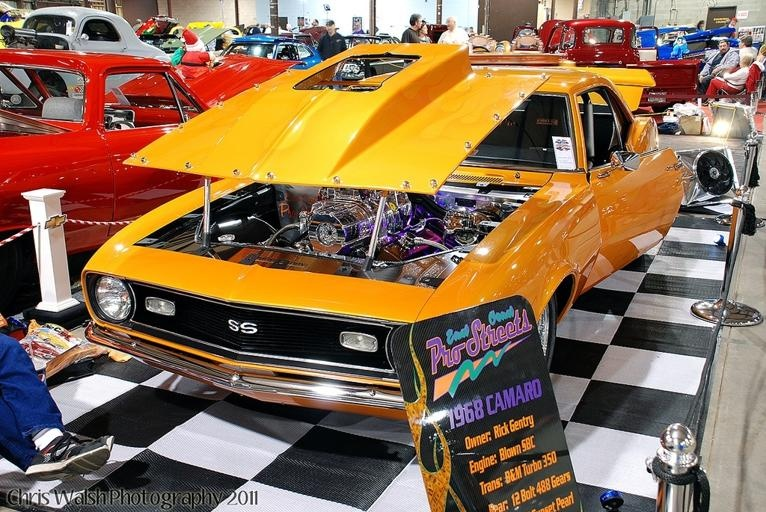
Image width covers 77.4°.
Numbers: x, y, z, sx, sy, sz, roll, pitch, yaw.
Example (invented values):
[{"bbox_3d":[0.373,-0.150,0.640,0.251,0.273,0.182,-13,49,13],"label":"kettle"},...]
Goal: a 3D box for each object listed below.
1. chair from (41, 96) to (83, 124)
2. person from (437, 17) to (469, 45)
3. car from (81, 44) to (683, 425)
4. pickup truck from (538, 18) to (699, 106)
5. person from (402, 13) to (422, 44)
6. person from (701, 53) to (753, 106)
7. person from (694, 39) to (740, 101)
[{"bbox_3d":[-2.959,-1.358,4.488,0.391,0.224,0.261,5,22,10],"label":"chair"},{"bbox_3d":[1.566,-4.924,10.495,0.537,0.672,1.473,4,16,6],"label":"person"},{"bbox_3d":[0.585,-0.843,4.459,3.300,1.719,5.404,7,23,33],"label":"car"},{"bbox_3d":[5.463,-5.300,13.063,2.937,2.067,4.883,-13,30,-23],"label":"pickup truck"},{"bbox_3d":[0.675,-5.209,10.931,0.360,0.694,0.877,5,17,11],"label":"person"},{"bbox_3d":[9.752,-4.894,13.160,0.755,1.147,1.216,4,17,7],"label":"person"},{"bbox_3d":[10.549,-5.893,15.177,1.174,1.778,0.886,-25,39,-7],"label":"person"}]
